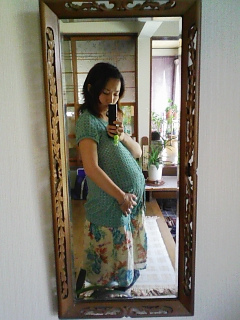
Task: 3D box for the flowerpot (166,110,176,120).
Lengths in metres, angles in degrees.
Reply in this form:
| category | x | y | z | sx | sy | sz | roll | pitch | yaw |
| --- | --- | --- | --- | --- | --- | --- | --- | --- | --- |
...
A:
| category | x | y | z | sx | sy | sz | roll | pitch | yaw |
| --- | --- | --- | --- | --- | --- | --- | --- | --- | --- |
| flowerpot | 0.138 | -0.125 | 0.774 | 0.027 | 0.026 | 0.026 | 0 | 22 | 1 |

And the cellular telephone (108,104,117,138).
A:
| category | x | y | z | sx | sy | sz | roll | pitch | yaw |
| --- | --- | --- | --- | --- | --- | --- | --- | --- | --- |
| cellular telephone | -0.021 | -0.127 | 0.795 | 0.027 | 0.062 | 0.012 | 2 | 11 | 13 |

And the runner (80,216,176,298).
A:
| category | x | y | z | sx | sy | sz | roll | pitch | yaw |
| --- | --- | --- | --- | --- | --- | --- | --- | --- | --- |
| runner | 0.088 | 0.306 | 0.910 | 0.031 | 0.271 | 0.248 | 2 | -17 | -41 |

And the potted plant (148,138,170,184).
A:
| category | x | y | z | sx | sy | sz | roll | pitch | yaw |
| --- | --- | --- | --- | --- | --- | --- | --- | --- | --- |
| potted plant | 0.113 | 0.002 | 0.802 | 0.072 | 0.115 | 0.063 | 0 | 10 | 7 |
